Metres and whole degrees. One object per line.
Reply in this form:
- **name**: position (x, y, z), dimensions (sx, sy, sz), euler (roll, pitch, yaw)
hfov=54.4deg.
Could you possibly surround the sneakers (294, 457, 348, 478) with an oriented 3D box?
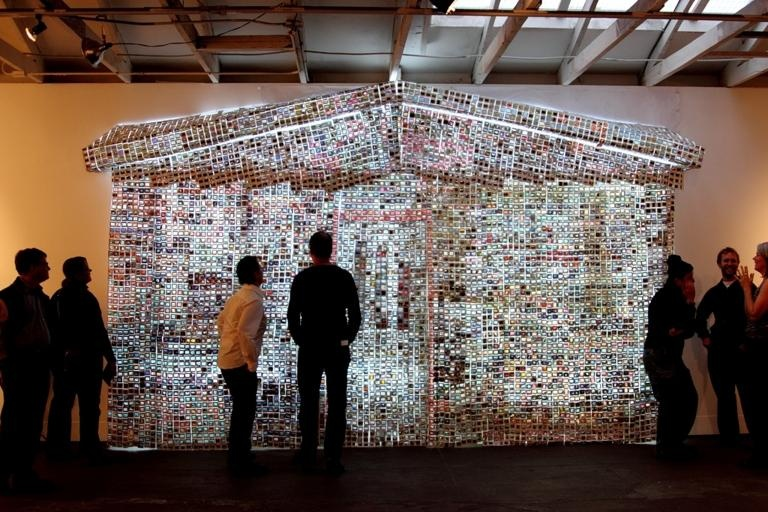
- **sneakers**: position (-0.602, 2.025, 7.203), dimensions (0.611, 0.176, 0.164), euler (-1, 32, 0)

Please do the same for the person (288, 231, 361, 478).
- **person**: position (-0.587, 0.922, 7.191), dimensions (0.692, 2.312, 0.325), euler (2, -8, -5)

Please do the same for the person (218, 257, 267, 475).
- **person**: position (-1.345, 1.022, 7.136), dimensions (0.451, 2.092, 0.458), euler (4, -9, -20)

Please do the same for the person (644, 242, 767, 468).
- **person**: position (3.258, 0.963, 7.714), dimensions (1.144, 2.142, 0.496), euler (4, -9, -21)

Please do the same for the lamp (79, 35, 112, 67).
- **lamp**: position (-3.095, -2.214, 8.049), dimensions (0.300, 0.324, 0.193), euler (3, -8, -13)
